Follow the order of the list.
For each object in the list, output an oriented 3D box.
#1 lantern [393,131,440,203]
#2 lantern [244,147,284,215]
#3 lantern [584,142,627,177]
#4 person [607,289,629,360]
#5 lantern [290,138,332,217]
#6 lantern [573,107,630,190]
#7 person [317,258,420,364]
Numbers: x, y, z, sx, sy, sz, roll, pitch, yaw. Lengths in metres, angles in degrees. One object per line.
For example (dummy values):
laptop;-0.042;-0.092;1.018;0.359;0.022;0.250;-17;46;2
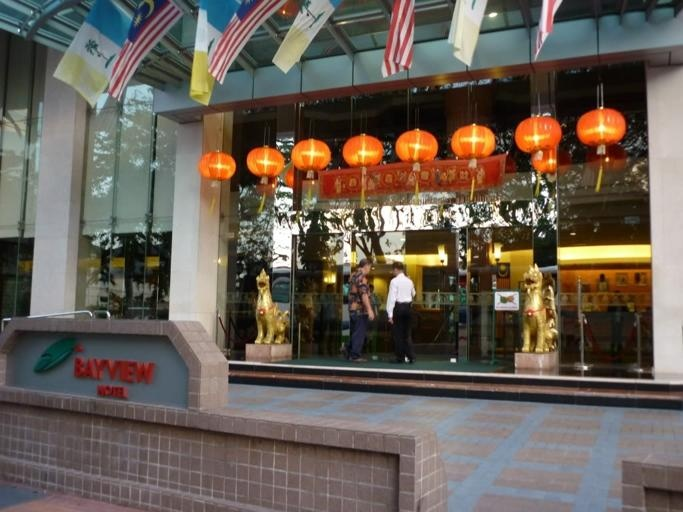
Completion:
lantern;1.513;-1.834;11.595;0.745;1.403;0.975;2;-5;17
lantern;-1.700;-1.944;13.117;0.873;1.857;0.804;3;-4;19
lantern;5.417;-1.970;11.901;0.564;0.876;0.599;-1;-1;-7
person;5.416;1.382;11.311;0.348;1.307;0.168;4;7;30
lantern;-0.698;-1.760;12.413;0.882;1.719;0.847;4;-2;9
lantern;4.965;-2.079;11.017;0.833;1.619;1.988;4;7;27
person;0.721;1.136;11.406;1.471;2.109;0.724;7;8;45
